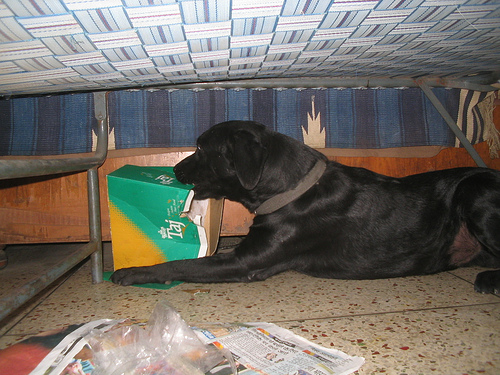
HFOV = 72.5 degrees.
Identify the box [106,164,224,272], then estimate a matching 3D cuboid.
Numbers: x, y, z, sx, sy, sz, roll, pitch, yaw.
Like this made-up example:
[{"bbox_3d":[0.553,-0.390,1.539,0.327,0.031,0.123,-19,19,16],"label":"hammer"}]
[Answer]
[{"bbox_3d":[-0.422,0.147,1.756,0.508,0.525,0.284,0,8,6],"label":"box"}]
